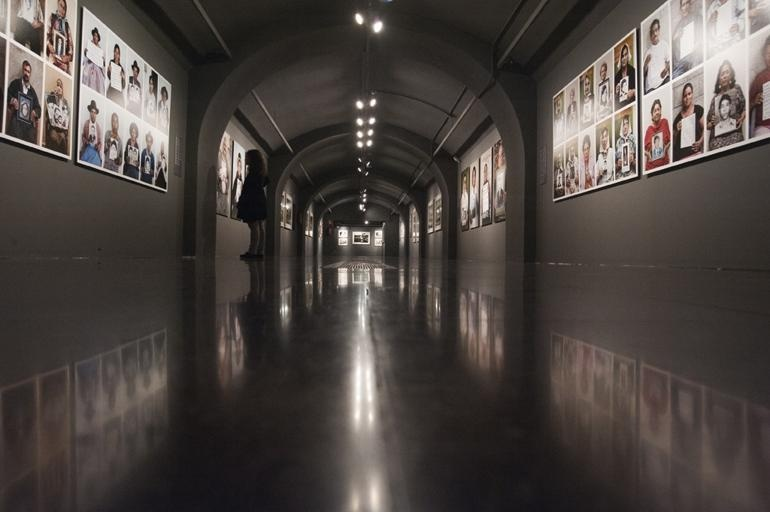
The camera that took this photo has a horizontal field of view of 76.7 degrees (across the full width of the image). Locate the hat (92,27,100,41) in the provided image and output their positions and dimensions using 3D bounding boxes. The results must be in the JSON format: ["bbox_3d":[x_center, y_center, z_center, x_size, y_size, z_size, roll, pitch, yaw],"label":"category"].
[{"bbox_3d":[-3.054,-2.338,5.120,0.036,0.089,0.099,-20,-28,-31],"label":"hat"}]
